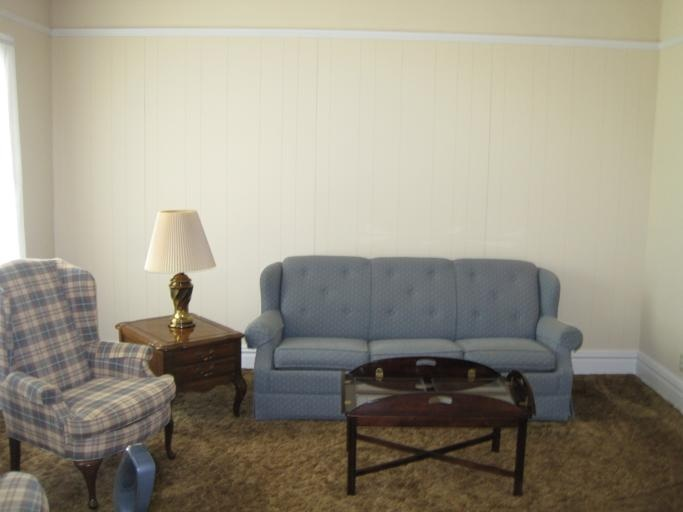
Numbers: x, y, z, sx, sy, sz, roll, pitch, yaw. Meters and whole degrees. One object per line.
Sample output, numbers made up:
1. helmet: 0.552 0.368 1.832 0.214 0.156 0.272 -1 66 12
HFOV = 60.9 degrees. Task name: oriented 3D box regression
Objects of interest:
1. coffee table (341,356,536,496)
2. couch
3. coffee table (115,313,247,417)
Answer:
1. coffee table: 0.620 1.134 3.917 1.222 0.669 0.687 -2 13 -1
2. couch: 0.585 0.660 4.791 2.479 1.221 1.074 0 4 2
3. coffee table: -1.243 0.588 4.486 0.698 0.721 0.878 -4 9 -35
